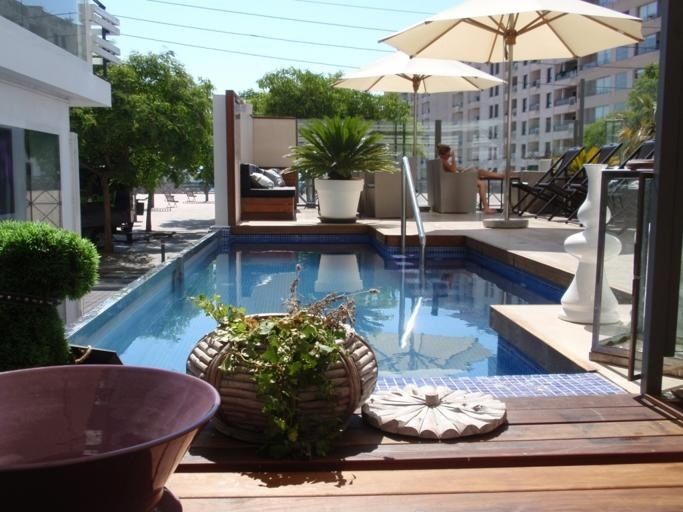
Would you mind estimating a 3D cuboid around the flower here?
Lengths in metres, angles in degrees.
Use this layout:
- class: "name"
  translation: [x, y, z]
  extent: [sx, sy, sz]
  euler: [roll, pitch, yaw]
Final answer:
- class: "flower"
  translation: [-0.086, 0.314, 1.657]
  extent: [0.437, 0.314, 0.375]
  euler: [9, 9, 36]

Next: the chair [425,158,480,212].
- class: "chair"
  translation: [2.179, -1.388, 10.019]
  extent: [0.833, 1.102, 1.142]
  euler: [-2, 9, -9]

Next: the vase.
- class: "vase"
  translation: [-0.227, 0.385, 1.796]
  extent: [0.641, 0.350, 0.669]
  euler: [8, 8, 25]

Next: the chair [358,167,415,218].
- class: "chair"
  translation: [0.963, -1.489, 9.582]
  extent: [0.716, 0.987, 1.394]
  euler: [0, 33, 5]

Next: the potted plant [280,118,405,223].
- class: "potted plant"
  translation: [-0.004, -1.495, 8.927]
  extent: [1.779, 1.574, 1.858]
  euler: [0, 7, -3]
